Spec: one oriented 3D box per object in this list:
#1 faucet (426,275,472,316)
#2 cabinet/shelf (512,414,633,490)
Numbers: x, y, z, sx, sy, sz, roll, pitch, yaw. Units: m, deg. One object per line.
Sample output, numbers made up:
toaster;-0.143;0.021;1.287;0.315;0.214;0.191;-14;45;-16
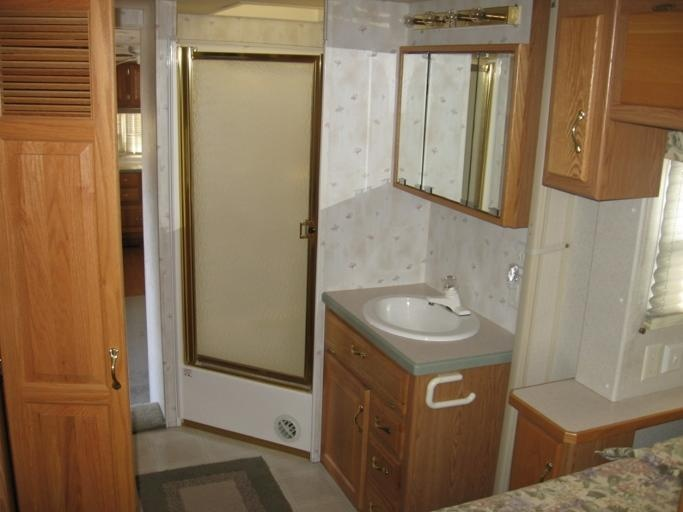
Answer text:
faucet;0.544;0.184;2.932;0.121;0.187;0.277;-8;23;-24
cabinet/shelf;0.834;0.688;2.013;0.203;0.293;0.186;-10;26;-20
